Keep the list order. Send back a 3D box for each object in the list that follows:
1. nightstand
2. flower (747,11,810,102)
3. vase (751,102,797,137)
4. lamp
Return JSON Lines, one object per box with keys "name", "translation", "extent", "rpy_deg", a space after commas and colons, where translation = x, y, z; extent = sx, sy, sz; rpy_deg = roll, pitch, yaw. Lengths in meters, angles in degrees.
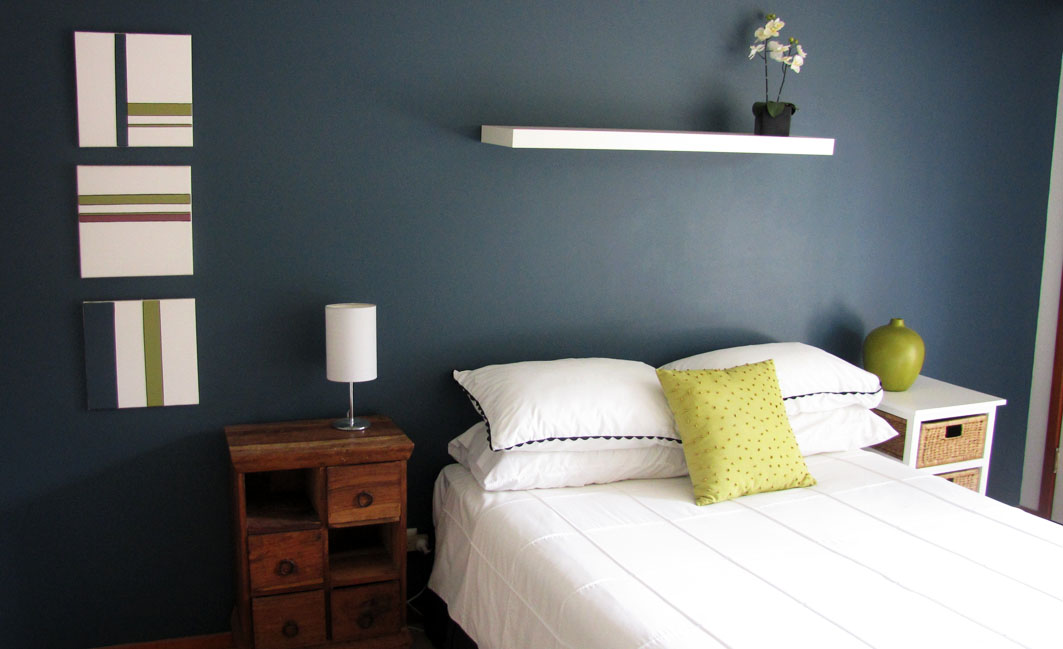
{"name": "nightstand", "translation": [2.253, 0.565, 4.488], "extent": [0.627, 0.905, 0.619], "rpy_deg": [-1, 12, -11]}
{"name": "flower", "translation": [1.372, -1.465, 4.179], "extent": [0.380, 0.459, 0.291], "rpy_deg": [-5, 5, -1]}
{"name": "vase", "translation": [1.271, -1.079, 4.044], "extent": [0.205, 0.182, 0.206], "rpy_deg": [0, 6, -4]}
{"name": "lamp", "translation": [-0.869, 0.199, 3.720], "extent": [0.251, 0.607, 0.265], "rpy_deg": [-6, 5, -15]}
